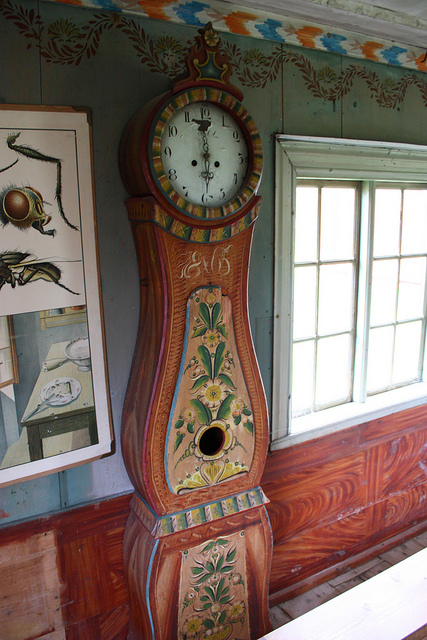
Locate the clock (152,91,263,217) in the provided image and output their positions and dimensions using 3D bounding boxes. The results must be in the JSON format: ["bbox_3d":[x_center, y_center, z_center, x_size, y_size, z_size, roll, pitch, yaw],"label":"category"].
[{"bbox_3d":[-0.025,-0.402,1.313,0.323,0.323,0.088,4,0,-36],"label":"clock"}]

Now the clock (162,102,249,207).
[{"bbox_3d":[-0.022,-0.405,1.330,0.301,0.298,0.029,12,27,27],"label":"clock"}]
